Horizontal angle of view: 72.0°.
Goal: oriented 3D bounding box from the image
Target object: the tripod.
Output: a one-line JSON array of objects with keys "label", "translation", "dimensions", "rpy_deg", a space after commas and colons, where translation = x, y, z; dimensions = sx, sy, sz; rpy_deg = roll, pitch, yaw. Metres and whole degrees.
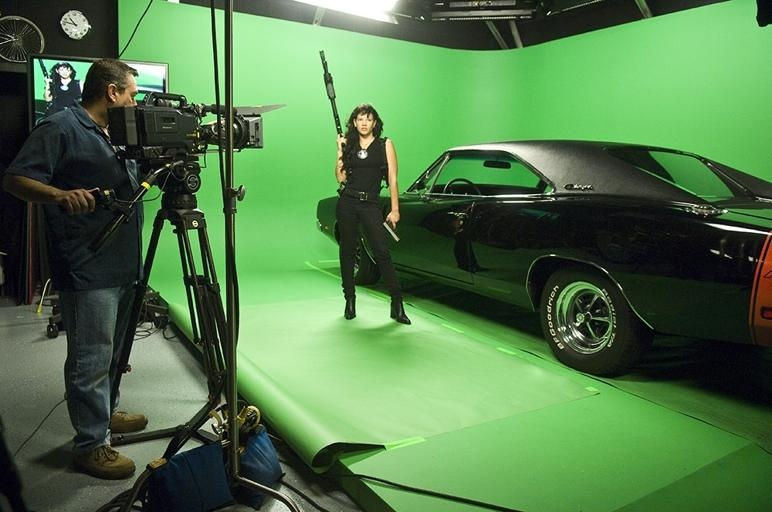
[{"label": "tripod", "translation": [-1.217, 0.425, 2.943], "dimensions": [0.606, 1.466, 0.893], "rpy_deg": [-7, 17, -31]}]

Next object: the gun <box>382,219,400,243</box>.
[{"label": "gun", "translation": [0.095, -0.241, 4.917], "dimensions": [0.047, 0.170, 0.189], "rpy_deg": [-32, 22, 7]}]

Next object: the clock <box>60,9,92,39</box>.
[{"label": "clock", "translation": [-3.327, -2.506, 5.712], "dimensions": [0.098, 0.296, 0.307], "rpy_deg": [16, 19, 41]}]

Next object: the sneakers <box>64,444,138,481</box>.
[{"label": "sneakers", "translation": [-1.592, 1.127, 2.968], "dimensions": [0.387, 0.134, 0.133], "rpy_deg": [8, 5, 15]}]

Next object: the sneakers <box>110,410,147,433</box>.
[{"label": "sneakers", "translation": [-1.589, 1.025, 3.295], "dimensions": [0.257, 0.081, 0.086], "rpy_deg": [0, 5, -23]}]
